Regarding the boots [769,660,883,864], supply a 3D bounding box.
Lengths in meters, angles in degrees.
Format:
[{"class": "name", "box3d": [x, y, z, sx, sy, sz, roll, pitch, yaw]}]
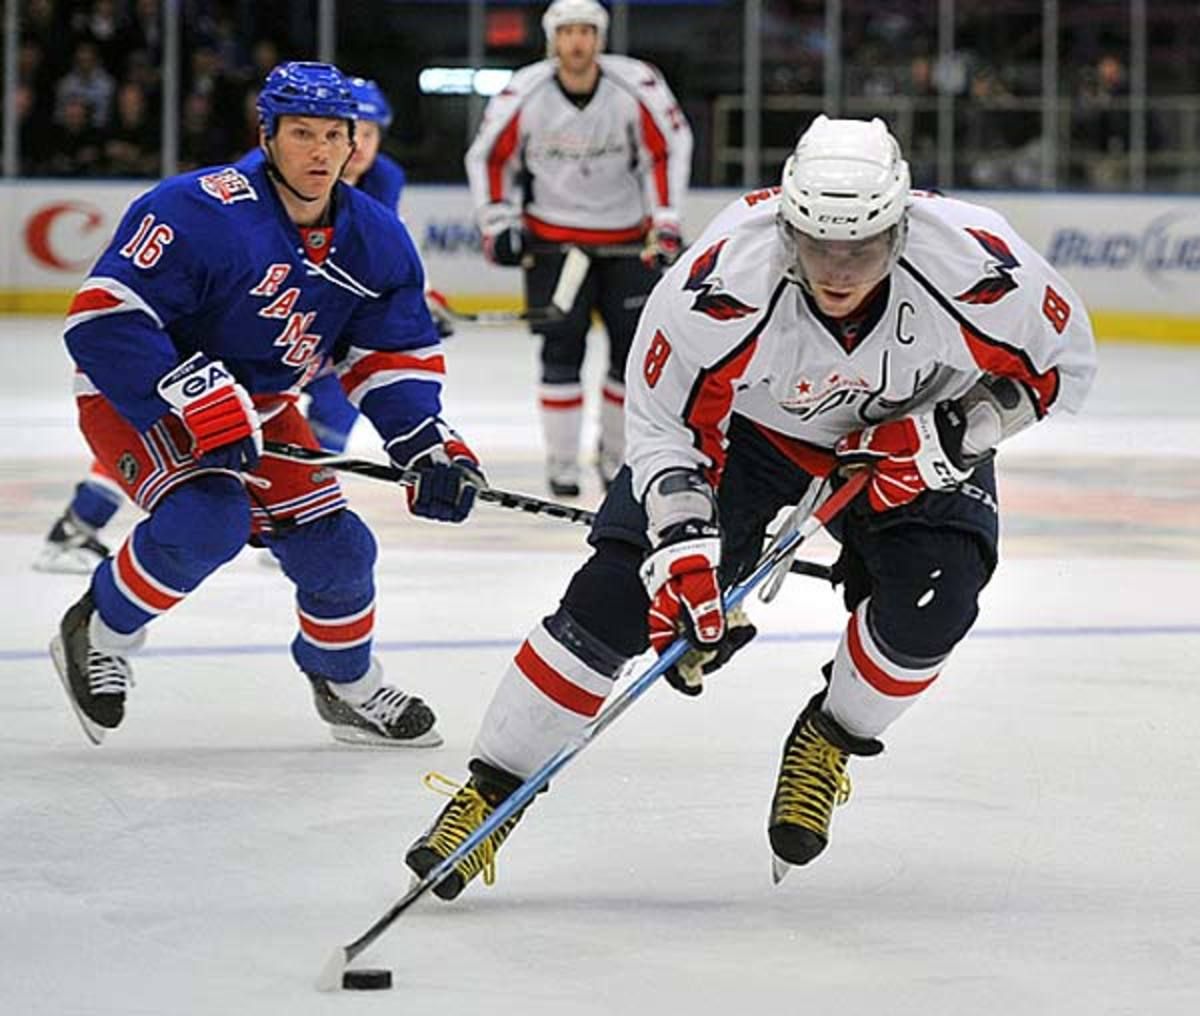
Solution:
[{"class": "boots", "box3d": [0.381, 0.406, 2.511, 0.136, 0.161, 0.336, 26, 49, -7]}]

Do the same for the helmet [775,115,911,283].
[{"class": "helmet", "box3d": [0.350, -0.412, 2.255, 0.224, 0.225, 0.221, 4, 54, 13]}]

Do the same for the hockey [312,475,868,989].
[{"class": "hockey", "box3d": [-0.010, 0.368, 2.573, 1.065, 0.107, 0.081, -36, 24, 7]}]

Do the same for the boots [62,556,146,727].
[{"class": "boots", "box3d": [-0.880, 0.236, 2.832, 0.107, 0.268, 0.138, -22, -8, -35]}]

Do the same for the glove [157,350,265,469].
[{"class": "glove", "box3d": [-0.670, -0.166, 2.738, 0.160, 0.200, 0.085, -38, 25, -13]}]

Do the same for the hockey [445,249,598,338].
[{"class": "hockey", "box3d": [-0.280, -0.779, 6.072, 0.025, 0.395, 1.466, 13, 11, 24]}]

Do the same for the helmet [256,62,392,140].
[{"class": "helmet", "box3d": [-0.473, -0.703, 2.812, 0.231, 0.115, 0.166, -8, 15, -33]}]

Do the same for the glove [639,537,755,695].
[{"class": "glove", "box3d": [0.120, 0.149, 2.300, 0.128, 0.260, 0.106, 1, 16, 1]}]

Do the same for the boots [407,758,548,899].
[{"class": "boots", "box3d": [-0.185, 0.454, 2.365, 0.124, 0.103, 0.235, 42, 36, 4]}]
